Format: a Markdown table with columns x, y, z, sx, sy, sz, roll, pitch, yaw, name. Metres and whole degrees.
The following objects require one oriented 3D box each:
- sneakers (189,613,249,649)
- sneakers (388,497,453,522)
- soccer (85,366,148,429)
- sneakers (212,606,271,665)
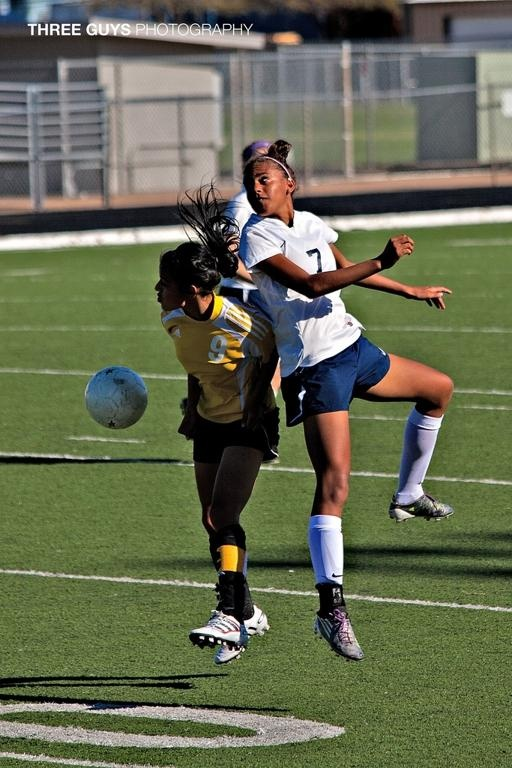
| x | y | z | sx | sy | sz | roll | pitch | yaw | name |
| --- | --- | --- | --- | --- | --- | --- | --- | --- | --- |
| -0.112 | 0.823 | 4.094 | 0.229 | 0.078 | 0.114 | 21 | 26 | -47 | sneakers |
| 0.802 | 0.580 | 5.725 | 0.342 | 0.118 | 0.111 | -1 | 21 | -18 | sneakers |
| -0.616 | 0.071 | 5.464 | 0.293 | 0.272 | 0.296 | 5 | 7 | 45 | soccer |
| -0.071 | 0.861 | 4.348 | 0.259 | 0.104 | 0.089 | -8 | -12 | -45 | sneakers |
